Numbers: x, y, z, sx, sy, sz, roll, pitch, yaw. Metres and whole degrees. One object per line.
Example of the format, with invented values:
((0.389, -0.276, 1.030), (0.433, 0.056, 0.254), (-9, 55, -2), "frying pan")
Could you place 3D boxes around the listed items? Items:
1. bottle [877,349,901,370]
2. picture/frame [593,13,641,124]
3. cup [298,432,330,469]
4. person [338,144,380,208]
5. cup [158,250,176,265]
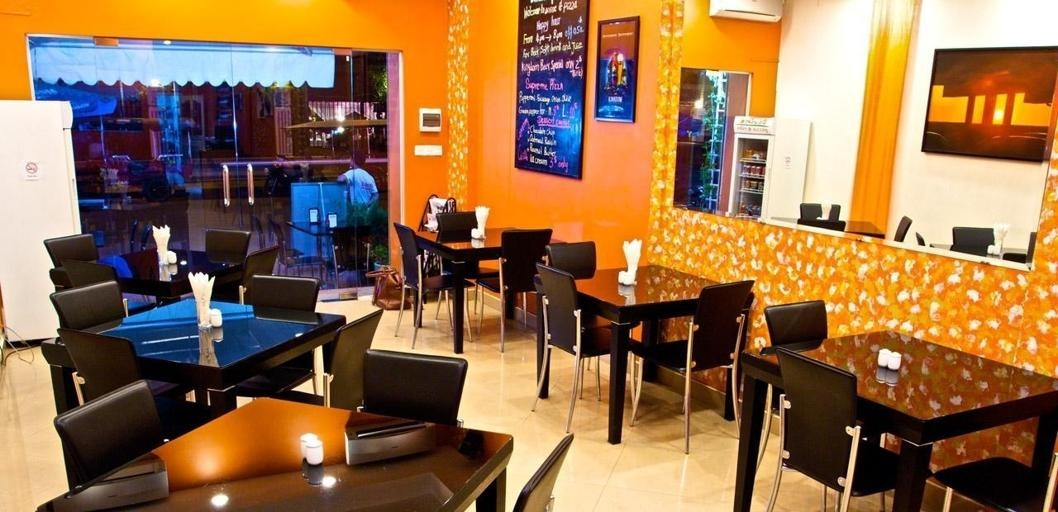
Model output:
((3.279, 0.940, 6.144), (0.214, 0.159, 0.102), (2, 12, 9), "bottle")
((1.078, -2.266, 8.433), (0.170, 1.230, 0.685), (-11, 17, -41), "picture/frame")
((-1.752, 1.558, 5.469), (0.178, 0.206, 0.168), (0, 12, 0), "cup")
((-2.633, -1.232, 10.317), (0.847, 0.880, 0.517), (-8, 30, -22), "person")
((-4.280, 0.030, 8.002), (0.208, 0.133, 0.194), (0, 11, 0), "cup")
